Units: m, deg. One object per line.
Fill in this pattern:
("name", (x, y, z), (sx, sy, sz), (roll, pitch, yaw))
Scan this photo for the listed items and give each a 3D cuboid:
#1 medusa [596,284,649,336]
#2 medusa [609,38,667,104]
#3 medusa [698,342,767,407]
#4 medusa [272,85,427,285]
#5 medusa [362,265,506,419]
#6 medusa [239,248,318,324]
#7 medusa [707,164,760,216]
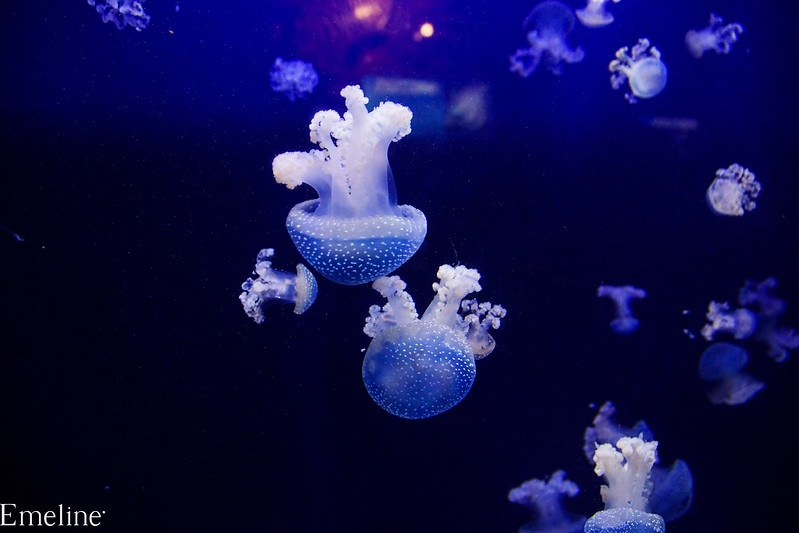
("medusa", (1.170, 0.223, 4.564), (0.275, 0.317, 0.123), (-3, -34, -1))
("medusa", (1.233, -1.013, 4.464), (0.280, 0.326, 0.091), (4, 6, -16))
("medusa", (1.780, 0.569, 4.663), (0.316, 0.102, 0.401), (-26, -63, 28))
("medusa", (-0.190, -0.413, 4.482), (0.798, 1.195, 0.840), (4, 6, 33))
("medusa", (0.149, 0.422, 4.530), (0.633, 0.876, 0.615), (4, -25, -8))
("medusa", (-0.638, 0.089, 4.500), (0.439, 0.464, 0.226), (-10, -48, -13))
("medusa", (1.755, -0.402, 4.560), (0.294, 0.259, 0.050), (4, -5, -12))
